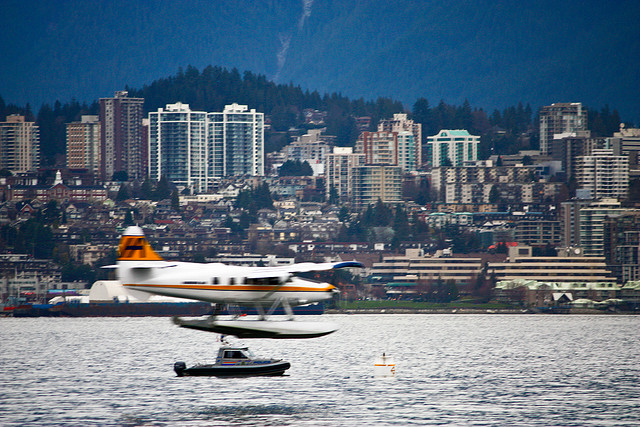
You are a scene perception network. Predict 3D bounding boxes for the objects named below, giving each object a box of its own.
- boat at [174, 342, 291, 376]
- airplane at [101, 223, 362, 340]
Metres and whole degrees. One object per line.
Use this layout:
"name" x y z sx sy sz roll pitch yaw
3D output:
"boat" -7.290 12.676 138.508 9.112 1.936 3.649 0 2 5
"airplane" -7.420 6.376 137.994 20.552 6.554 19.960 6 2 2
